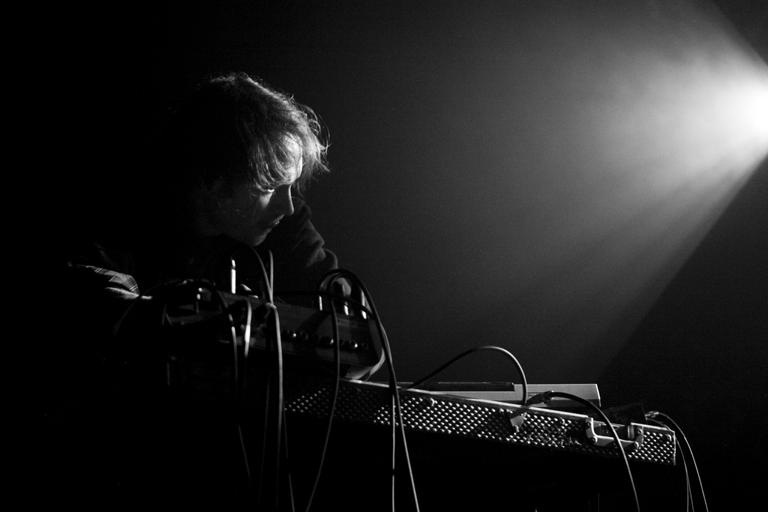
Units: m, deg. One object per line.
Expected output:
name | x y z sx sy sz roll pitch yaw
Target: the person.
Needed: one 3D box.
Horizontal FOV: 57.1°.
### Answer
person | -0.663 -0.252 2.551 0.785 0.726 0.795 20 6 32
